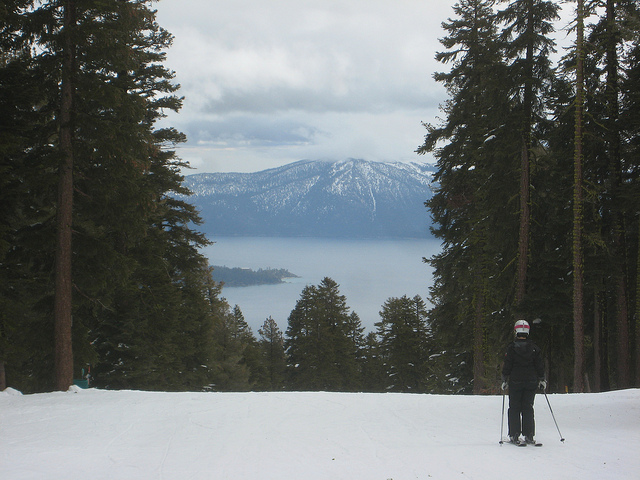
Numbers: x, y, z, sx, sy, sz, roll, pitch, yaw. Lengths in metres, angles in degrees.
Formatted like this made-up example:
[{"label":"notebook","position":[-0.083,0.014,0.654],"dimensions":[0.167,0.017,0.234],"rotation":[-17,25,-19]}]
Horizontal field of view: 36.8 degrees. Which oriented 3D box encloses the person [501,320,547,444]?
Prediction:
[{"label":"person","position":[7.150,4.950,33.857],"dimensions":[1.421,4.302,0.510],"rotation":[-3,-10,13]}]
